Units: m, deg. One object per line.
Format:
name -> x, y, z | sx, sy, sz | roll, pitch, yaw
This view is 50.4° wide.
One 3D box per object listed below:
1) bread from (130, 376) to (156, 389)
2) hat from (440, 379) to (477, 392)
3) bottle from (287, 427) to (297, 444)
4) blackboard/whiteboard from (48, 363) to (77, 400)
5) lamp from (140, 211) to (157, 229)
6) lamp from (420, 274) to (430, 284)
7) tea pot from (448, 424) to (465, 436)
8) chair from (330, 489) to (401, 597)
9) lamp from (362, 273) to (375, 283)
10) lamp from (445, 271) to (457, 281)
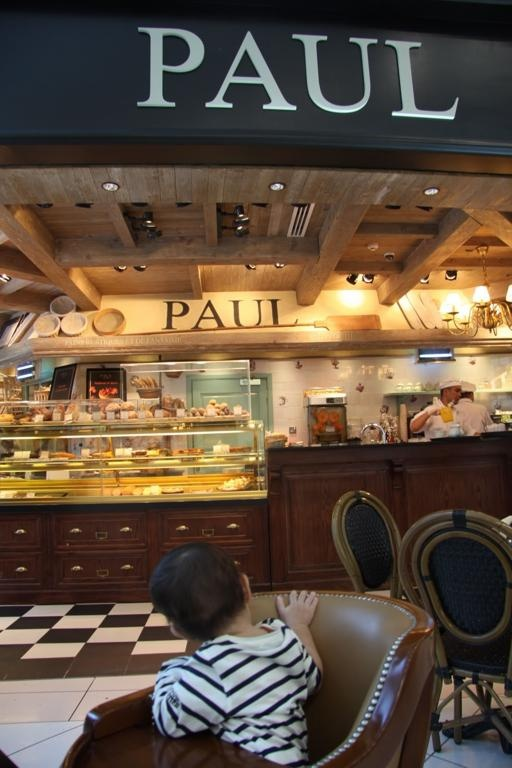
bread -> -1.043, -0.015, 5.076 | 0.337, 0.132, 0.054 | -8, -10, 39
hat -> 2.056, 0.016, 5.490 | 0.248, 0.099, 0.222 | 0, -2, 6
bottle -> 0.493, 0.708, 7.433 | 0.150, 0.156, 0.291 | -5, 31, 4
blackboard/whiteboard -> -2.575, -0.027, 7.296 | 0.512, 0.629, 0.075 | 1, -19, 35
lamp -> -0.942, -1.455, 4.818 | 0.128, 0.131, 0.125 | 0, -5, 0
lamp -> 2.167, -1.361, 6.965 | 0.121, 0.163, 0.042 | 11, -32, -22
tea pot -> 1.767, 0.412, 4.802 | 0.137, 0.116, 0.134 | -4, -3, 0
chair -> 0.517, 0.763, 2.521 | 0.293, 0.514, 0.424 | -4, -8, 13
lamp -> 1.455, -1.375, 7.015 | 0.108, 0.031, 0.116 | 6, -36, 5
lamp -> 2.586, -1.441, 7.155 | 0.116, 0.153, 0.151 | 2, -11, 7
